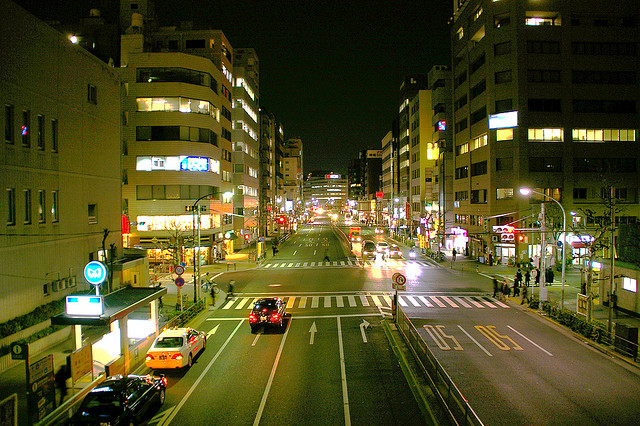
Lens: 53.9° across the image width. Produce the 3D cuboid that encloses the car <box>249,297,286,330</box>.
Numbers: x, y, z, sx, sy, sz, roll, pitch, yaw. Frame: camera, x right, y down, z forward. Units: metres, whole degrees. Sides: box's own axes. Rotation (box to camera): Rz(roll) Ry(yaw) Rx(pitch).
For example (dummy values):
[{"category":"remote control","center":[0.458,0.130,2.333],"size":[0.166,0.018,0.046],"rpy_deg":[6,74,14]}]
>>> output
[{"category":"car","center":[-5.147,9.958,61.140],"size":[3.487,3.041,2.178],"rpy_deg":[-1,-3,-14]}]

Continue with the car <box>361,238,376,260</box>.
[{"category":"car","center":[7.328,5.676,94.919],"size":[1.855,2.229,3.631],"rpy_deg":[0,6,4]}]

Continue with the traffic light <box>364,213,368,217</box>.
[{"category":"traffic light","center":[15.937,0.823,216.509],"size":[1.034,0.628,1.095],"rpy_deg":[-3,8,-8]}]

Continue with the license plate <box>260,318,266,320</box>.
[{"category":"license plate","center":[-5.455,10.235,60.204],"size":[0.539,0.138,0.018],"rpy_deg":[-2,-2,-1]}]
